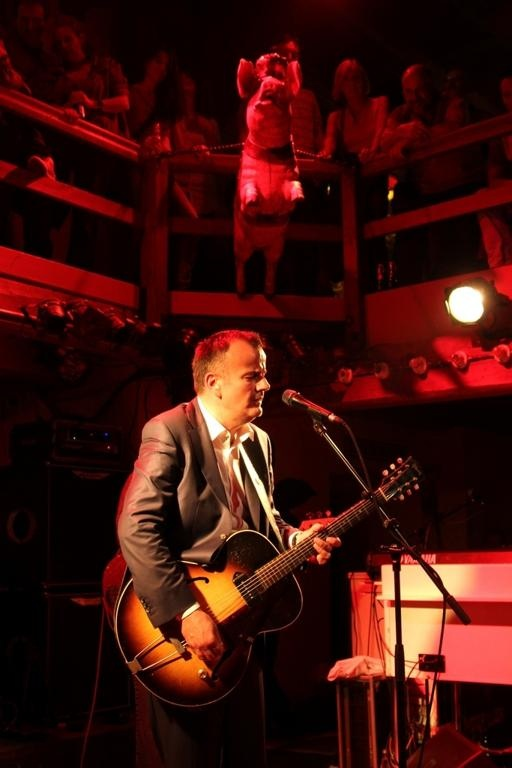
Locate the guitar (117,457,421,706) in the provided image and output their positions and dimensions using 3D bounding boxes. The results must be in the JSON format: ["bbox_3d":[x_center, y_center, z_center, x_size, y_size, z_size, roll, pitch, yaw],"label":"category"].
[{"bbox_3d":[0.044,0.516,2.035,1.141,0.443,0.144,-34,4,-34],"label":"guitar"}]

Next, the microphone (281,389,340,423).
[{"bbox_3d":[0.311,0.108,3.481,0.418,0.103,0.108,25,-17,49],"label":"microphone"}]

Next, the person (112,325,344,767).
[{"bbox_3d":[-0.115,0.408,1.824,0.379,1.247,0.681,-8,-14,40],"label":"person"}]

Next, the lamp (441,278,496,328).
[{"bbox_3d":[1.191,-0.440,3.497,0.239,0.199,0.185,-8,-13,37],"label":"lamp"}]

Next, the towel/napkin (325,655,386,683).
[{"bbox_3d":[0.519,1.417,3.149,0.205,0.072,0.158,16,-29,-36],"label":"towel/napkin"}]
